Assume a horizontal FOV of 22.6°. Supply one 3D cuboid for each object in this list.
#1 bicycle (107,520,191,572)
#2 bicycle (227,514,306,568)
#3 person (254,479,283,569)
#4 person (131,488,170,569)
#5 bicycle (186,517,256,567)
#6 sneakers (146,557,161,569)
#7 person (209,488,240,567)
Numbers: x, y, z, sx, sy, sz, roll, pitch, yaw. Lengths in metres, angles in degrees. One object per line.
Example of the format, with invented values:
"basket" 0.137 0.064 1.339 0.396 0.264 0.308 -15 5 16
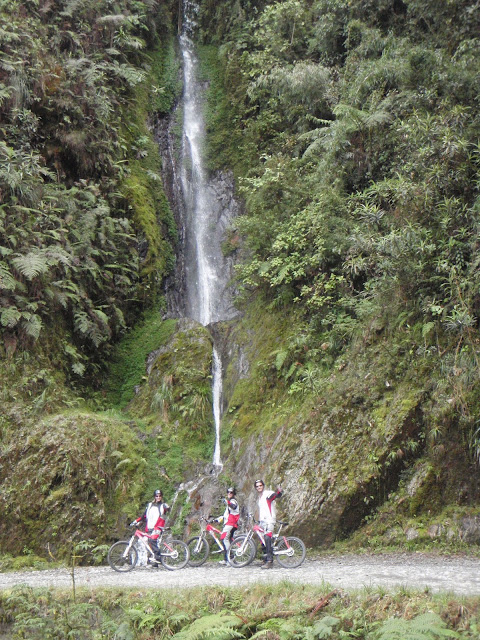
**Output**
"bicycle" -1.815 4.465 23.702 1.522 0.869 1.219 2 77 -5
"bicycle" 0.570 4.549 23.480 1.385 0.841 1.064 1 53 5
"person" 0.558 4.101 23.556 0.318 0.956 1.267 20 47 -15
"person" -1.830 4.333 24.376 0.736 0.836 2.074 -6 54 12
"bicycle" -0.296 4.501 23.817 1.254 0.722 0.987 0 66 18
"sneakers" -1.720 4.836 23.635 0.200 0.083 0.204 10 -1 -40
"person" -0.310 4.295 24.327 0.383 0.733 1.204 22 35 -11
